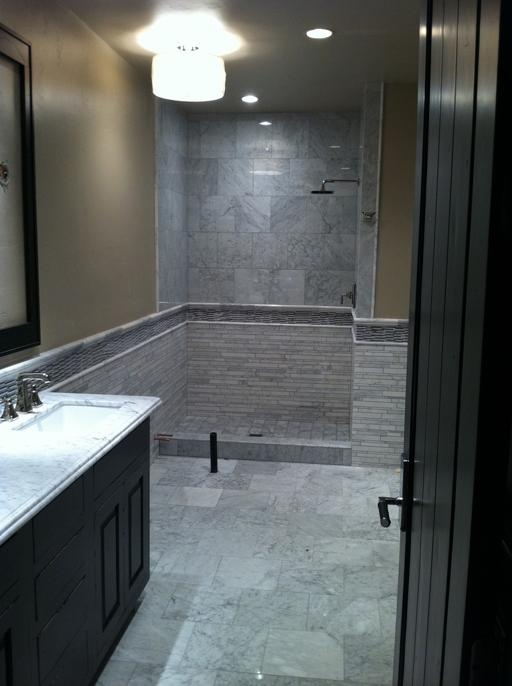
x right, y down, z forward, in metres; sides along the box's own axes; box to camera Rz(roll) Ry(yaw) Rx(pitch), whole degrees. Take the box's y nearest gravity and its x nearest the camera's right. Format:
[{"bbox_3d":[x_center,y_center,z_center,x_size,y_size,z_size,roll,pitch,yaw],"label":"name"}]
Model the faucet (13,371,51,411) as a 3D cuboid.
[{"bbox_3d":[-0.951,0.197,2.153,0.128,0.161,0.252,-3,8,-26],"label":"faucet"}]
